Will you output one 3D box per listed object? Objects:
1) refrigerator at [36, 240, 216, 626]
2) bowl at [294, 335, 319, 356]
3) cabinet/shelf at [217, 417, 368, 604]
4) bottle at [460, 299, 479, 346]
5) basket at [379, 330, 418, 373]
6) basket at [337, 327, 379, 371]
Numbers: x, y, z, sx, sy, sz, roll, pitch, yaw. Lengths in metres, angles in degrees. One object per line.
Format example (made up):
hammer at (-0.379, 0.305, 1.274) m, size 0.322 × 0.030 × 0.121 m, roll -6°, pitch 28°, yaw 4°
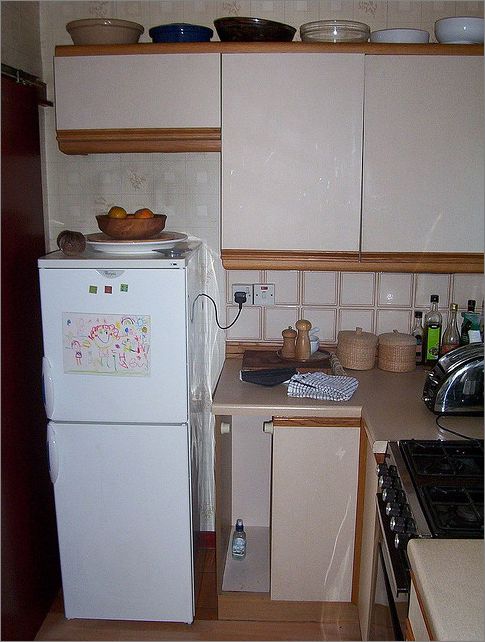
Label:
refrigerator at (-0.421, 0.390, 1.985) m, size 0.526 × 1.392 × 0.467 m, roll 0°, pitch 15°, yaw -4°
bowl at (0.256, 0.102, 2.152) m, size 0.103 × 0.116 × 0.061 m, roll 1°, pitch 6°, yaw -16°
cabinet/shelf at (0.210, 0.676, 2.126) m, size 0.594 × 0.962 × 0.644 m, roll 0°, pitch 9°, yaw 3°
bottle at (0.903, 0.012, 2.083) m, size 0.067 × 0.181 × 0.373 m, roll 5°, pitch 9°, yaw 22°
basket at (0.630, 0.109, 2.133) m, size 0.142 × 0.168 × 0.149 m, roll 6°, pitch 15°, yaw 31°
basket at (0.474, 0.112, 2.144) m, size 0.139 × 0.153 × 0.143 m, roll 4°, pitch 12°, yaw -4°
